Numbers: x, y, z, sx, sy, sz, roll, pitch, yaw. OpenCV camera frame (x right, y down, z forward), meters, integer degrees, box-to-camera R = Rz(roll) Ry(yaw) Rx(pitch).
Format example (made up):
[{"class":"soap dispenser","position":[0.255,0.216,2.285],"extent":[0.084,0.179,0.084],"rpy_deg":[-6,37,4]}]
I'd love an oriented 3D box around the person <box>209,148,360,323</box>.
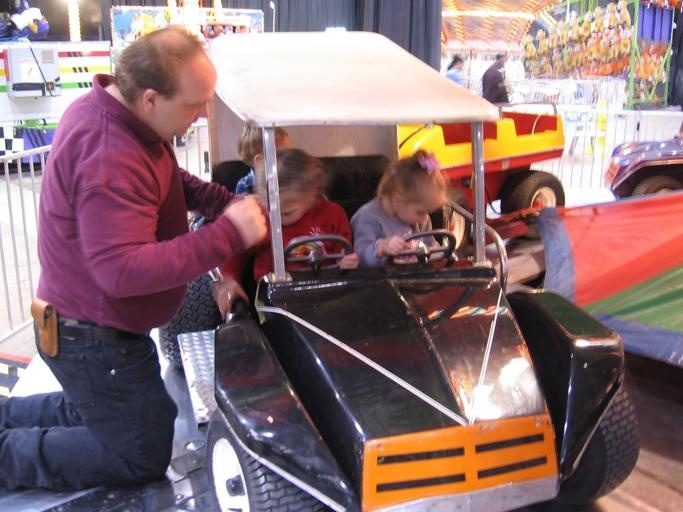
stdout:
[{"class":"person","position":[-0.246,-0.045,2.444],"extent":[0.545,0.805,0.422],"rpy_deg":[-5,27,-10]}]

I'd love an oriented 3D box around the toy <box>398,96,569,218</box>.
[{"class":"toy","position":[1.125,-0.771,5.268],"extent":[1.607,1.111,1.298],"rpy_deg":[-14,20,-34]}]
